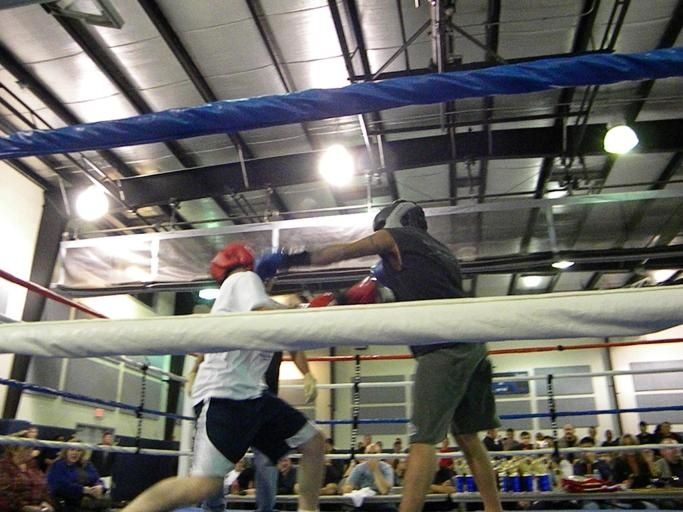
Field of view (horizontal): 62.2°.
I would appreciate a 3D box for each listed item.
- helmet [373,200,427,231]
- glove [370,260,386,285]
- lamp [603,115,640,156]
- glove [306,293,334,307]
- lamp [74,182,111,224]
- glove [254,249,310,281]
[{"bbox_3d":[0.350,-0.245,3.464,0.370,0.243,0.166,-4,-60,-15],"label":"helmet"},{"bbox_3d":[0.211,0.105,3.438,0.085,0.061,0.171,2,-28,-3],"label":"glove"},{"bbox_3d":[3.302,-1.374,6.712,0.401,0.359,0.363,-10,-29,19],"label":"lamp"},{"bbox_3d":[-0.148,0.302,3.841,0.101,0.166,0.029,26,-52,43],"label":"glove"},{"bbox_3d":[-3.448,-0.817,7.888,0.394,0.635,0.363,5,-31,-7],"label":"lamp"},{"bbox_3d":[-0.359,0.049,3.243,0.209,0.074,0.296,4,-12,-31],"label":"glove"}]
